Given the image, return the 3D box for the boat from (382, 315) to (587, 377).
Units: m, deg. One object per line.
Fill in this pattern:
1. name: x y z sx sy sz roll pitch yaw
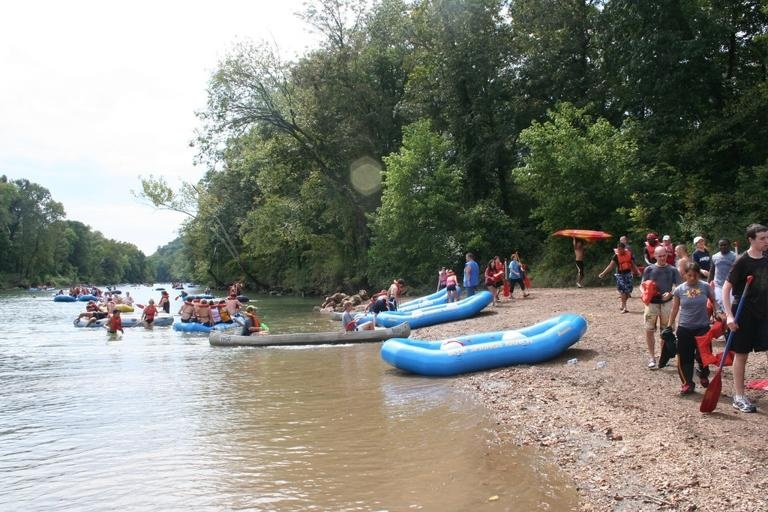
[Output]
1. boat: 3.508 3.299 26.285 7.251 1.452 4.166 -8 0 -2

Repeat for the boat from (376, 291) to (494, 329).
1. boat: 2.309 2.629 33.114 5.356 1.134 2.575 -13 -1 -3

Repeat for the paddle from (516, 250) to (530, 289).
1. paddle: 7.531 0.768 39.755 0.628 2.398 0.421 -14 7 -34

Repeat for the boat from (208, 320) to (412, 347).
1. boat: -3.161 3.500 30.720 9.393 0.996 2.092 -1 0 -10
